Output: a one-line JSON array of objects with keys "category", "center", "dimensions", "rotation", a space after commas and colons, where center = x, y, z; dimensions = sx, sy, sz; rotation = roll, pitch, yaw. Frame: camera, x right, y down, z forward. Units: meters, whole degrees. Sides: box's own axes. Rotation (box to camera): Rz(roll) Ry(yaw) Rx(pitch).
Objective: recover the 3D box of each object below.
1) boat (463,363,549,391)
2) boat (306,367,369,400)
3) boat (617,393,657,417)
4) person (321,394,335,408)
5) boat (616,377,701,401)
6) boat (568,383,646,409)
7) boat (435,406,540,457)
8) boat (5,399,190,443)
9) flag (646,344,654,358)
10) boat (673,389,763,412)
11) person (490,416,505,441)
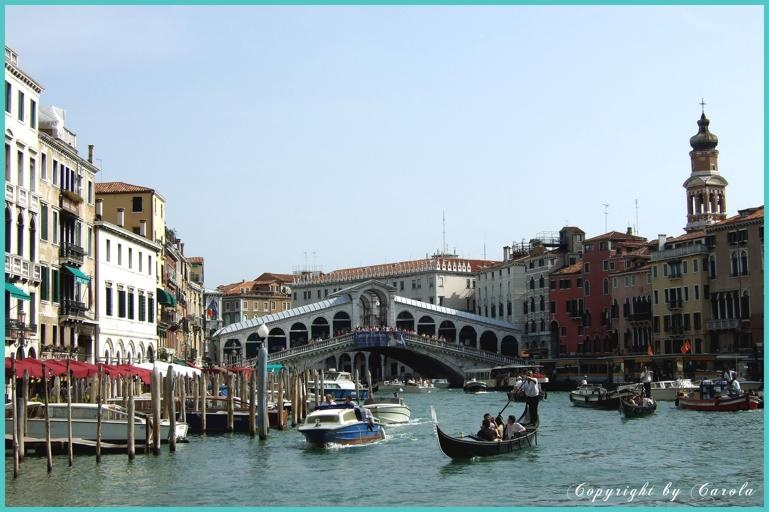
[{"category": "boat", "center": [12.172, 12.852, 147.399], "dimensions": [3.816, 3.120, 13.372], "rotation": [2, -7, -39]}, {"category": "boat", "center": [-5.003, 11.639, 126.632], "dimensions": [6.391, 2.396, 2.852], "rotation": [12, -17, -31]}, {"category": "boat", "center": [19.273, 11.558, 107.151], "dimensions": [2.762, 2.040, 1.837], "rotation": [0, -15, -19]}, {"category": "person", "center": [-3.712, 9.861, 94.414], "dimensions": [0.839, 1.107, 2.599], "rotation": [1, -1, -7]}, {"category": "boat", "center": [23.576, 11.449, 119.680], "dimensions": [6.137, 1.408, 2.154], "rotation": [-2, -5, -2]}, {"category": "boat", "center": [17.675, 11.690, 115.989], "dimensions": [2.197, 1.278, 5.651], "rotation": [3, -7, -27]}, {"category": "boat", "center": [5.817, 10.939, 82.958], "dimensions": [8.289, 2.177, 2.213], "rotation": [8, -19, -41]}, {"category": "boat", "center": [-15.871, 10.109, 85.224], "dimensions": [13.731, 2.984, 3.447], "rotation": [1, -3, -7]}, {"category": "flag", "center": [27.066, 9.594, 143.400], "dimensions": [0.662, 1.373, 2.961], "rotation": [-7, -14, 10]}, {"category": "boat", "center": [25.640, 11.647, 110.064], "dimensions": [6.551, 1.322, 2.149], "rotation": [-7, -13, 42]}, {"category": "person", "center": [6.702, 10.212, 83.625], "dimensions": [0.990, 1.310, 1.293], "rotation": [-1, -21, 2]}]
